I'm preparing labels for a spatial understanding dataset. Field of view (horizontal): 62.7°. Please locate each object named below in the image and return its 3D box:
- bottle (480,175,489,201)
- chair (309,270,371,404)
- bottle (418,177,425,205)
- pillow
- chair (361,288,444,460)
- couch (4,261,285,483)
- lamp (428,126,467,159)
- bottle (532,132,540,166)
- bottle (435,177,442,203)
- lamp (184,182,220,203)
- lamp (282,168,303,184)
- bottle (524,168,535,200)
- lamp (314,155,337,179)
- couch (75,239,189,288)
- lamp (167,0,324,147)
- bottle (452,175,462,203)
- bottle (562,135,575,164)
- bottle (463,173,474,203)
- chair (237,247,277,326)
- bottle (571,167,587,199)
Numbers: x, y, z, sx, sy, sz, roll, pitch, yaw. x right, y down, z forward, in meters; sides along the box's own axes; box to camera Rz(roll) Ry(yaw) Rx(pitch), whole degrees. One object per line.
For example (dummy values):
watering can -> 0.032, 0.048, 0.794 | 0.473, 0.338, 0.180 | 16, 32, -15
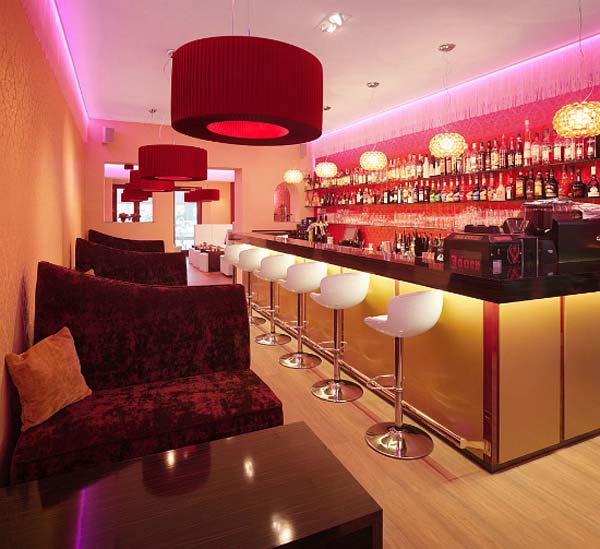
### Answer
bottle -> 2.208, -1.028, 5.880 | 0.086, 0.272, 0.416 | 2, 13, 20
chair -> 0.352, 0.457, 3.958 | 0.450, 1.050, 0.659 | 3, 14, 25
bottle -> 1.704, -1.161, 6.865 | 0.089, 0.304, 0.308 | 1, 13, 14
pillow -> -1.367, 0.584, 2.668 | 0.271, 0.479, 0.555 | -4, 7, 14
chair -> 0.657, 0.594, 3.111 | 0.477, 1.047, 0.468 | -11, 15, -33
couch -> -0.827, 0.565, 2.950 | 1.453, 0.862, 0.776 | 2, 17, -29
lamp -> 1.582, -1.381, 5.432 | 0.416, 0.269, 0.434 | -8, 11, -37
bottle -> 2.588, -1.377, 5.391 | 0.086, 0.326, 0.453 | 3, 14, 25
bottle -> 1.869, -1.119, 6.622 | 0.077, 0.291, 0.330 | 1, 13, 15
lamp -> -2.402, -1.939, 12.092 | 0.675, 0.331, 1.031 | -7, 13, -21
lamp -> -0.135, -1.727, 8.770 | 0.365, 0.242, 0.376 | 7, 10, 42
bottle -> 2.520, -0.974, 5.388 | 0.100, 0.298, 0.393 | 3, 14, 24
lamp -> 0.439, -1.721, 8.187 | 0.463, 0.309, 0.460 | 1, 7, -7
couch -> -2.000, -0.169, 5.729 | 0.885, 0.816, 0.767 | 0, 5, -37
lamp -> -0.259, -1.003, 2.795 | 0.834, 0.359, 0.867 | 9, 8, 43
bottle -> 2.026, -1.087, 6.322 | 0.117, 0.300, 0.311 | 1, 13, 17
bottle -> 2.725, -1.255, 4.984 | 0.115, 0.232, 0.258 | 4, 14, 27
bottle -> 2.133, -1.071, 6.116 | 0.143, 0.311, 0.514 | 1, 13, 15
chair -> -0.572, 0.126, 5.695 | 0.429, 0.819, 0.361 | -4, 9, -10
bottle -> 2.831, -0.908, 4.977 | 0.143, 0.287, 0.234 | 4, 14, 28
